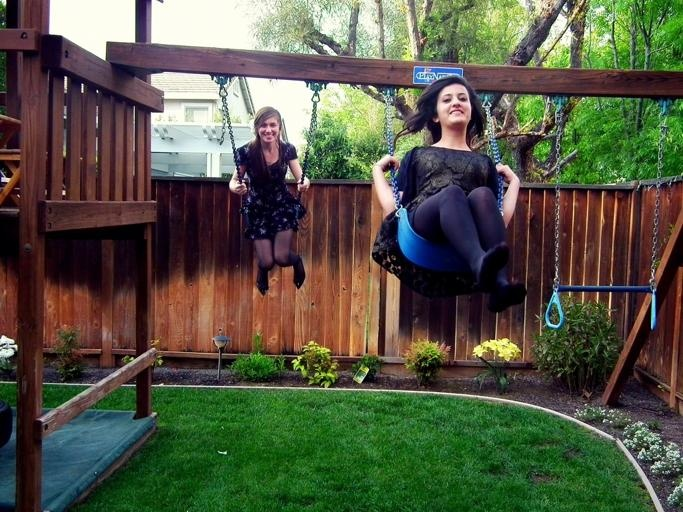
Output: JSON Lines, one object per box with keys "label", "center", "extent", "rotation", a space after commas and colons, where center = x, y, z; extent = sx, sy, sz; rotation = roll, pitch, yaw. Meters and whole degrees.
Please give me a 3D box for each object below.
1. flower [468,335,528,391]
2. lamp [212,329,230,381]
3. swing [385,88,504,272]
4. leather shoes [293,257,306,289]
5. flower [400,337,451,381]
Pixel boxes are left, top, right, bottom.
{"label": "flower", "center": [1.560, 1.036, 6.511], "extent": [0.454, 0.591, 0.469], "rotation": [2, -3, -21]}
{"label": "lamp", "center": [-1.217, 0.969, 6.580], "extent": [0.178, 0.465, 0.534], "rotation": [-1, 9, -11]}
{"label": "swing", "center": [0.700, -0.571, 4.639], "extent": [0.820, 1.250, 1.407], "rotation": [1, 9, 4]}
{"label": "leather shoes", "center": [-0.389, 0.152, 5.699], "extent": [0.089, 0.344, 0.134], "rotation": [5, 12, 5]}
{"label": "flower", "center": [0.853, 1.037, 6.507], "extent": [0.421, 0.425, 0.519], "rotation": [2, 9, 9]}
